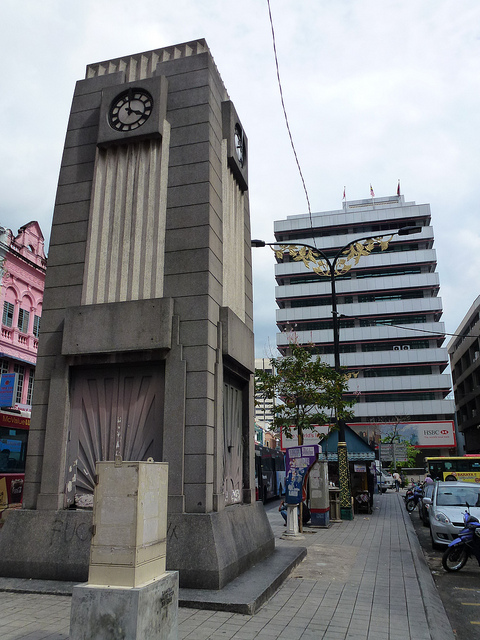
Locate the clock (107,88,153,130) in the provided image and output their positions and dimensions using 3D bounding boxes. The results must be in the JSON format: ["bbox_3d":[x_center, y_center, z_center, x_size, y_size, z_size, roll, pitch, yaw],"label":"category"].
[{"bbox_3d":[-2.208,-4.263,8.788,0.744,1.050,0.078,-2,-14,14],"label":"clock"}]

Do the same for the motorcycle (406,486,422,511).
[{"bbox_3d":[10.139,10.374,24.781,1.428,1.155,0.712,20,-21,-32],"label":"motorcycle"}]
